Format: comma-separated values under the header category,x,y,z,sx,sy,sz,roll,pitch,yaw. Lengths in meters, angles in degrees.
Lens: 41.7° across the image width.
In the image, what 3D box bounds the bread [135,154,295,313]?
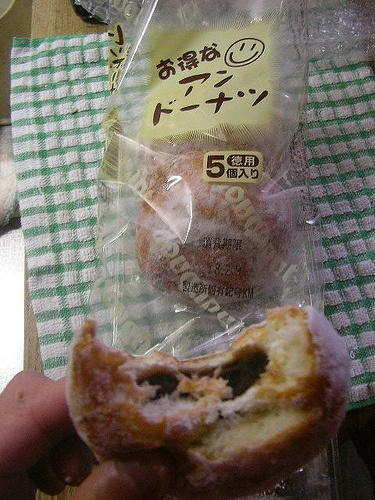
category,x,y,z,sx,sy,sz,roll,pitch,yaw
bread,0.027,-0.017,0.552,0.182,0.087,0.159,13,85,5
